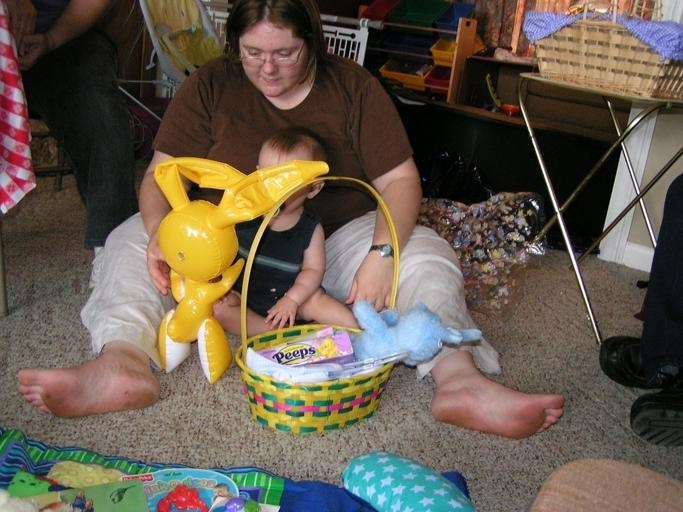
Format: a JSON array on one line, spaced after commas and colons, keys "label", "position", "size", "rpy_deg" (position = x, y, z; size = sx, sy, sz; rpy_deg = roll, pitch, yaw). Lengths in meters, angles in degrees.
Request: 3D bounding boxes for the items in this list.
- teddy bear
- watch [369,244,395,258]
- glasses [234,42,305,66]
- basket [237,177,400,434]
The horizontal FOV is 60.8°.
[{"label": "teddy bear", "position": [0.146, 0.199, 1.403], "size": [0.336, 0.134, 0.210], "rpy_deg": [-3, 13, 31]}, {"label": "watch", "position": [0.104, -0.015, 1.487], "size": [0.046, 0.048, 0.033], "rpy_deg": [-1, 75, -11]}, {"label": "glasses", "position": [-0.178, -0.515, 1.498], "size": [0.157, 0.044, 0.049], "rpy_deg": [-1, 36, -8]}, {"label": "basket", "position": [-0.035, 0.089, 1.418], "size": [0.410, 0.619, 0.299], "rpy_deg": [-8, 20, -36]}]
